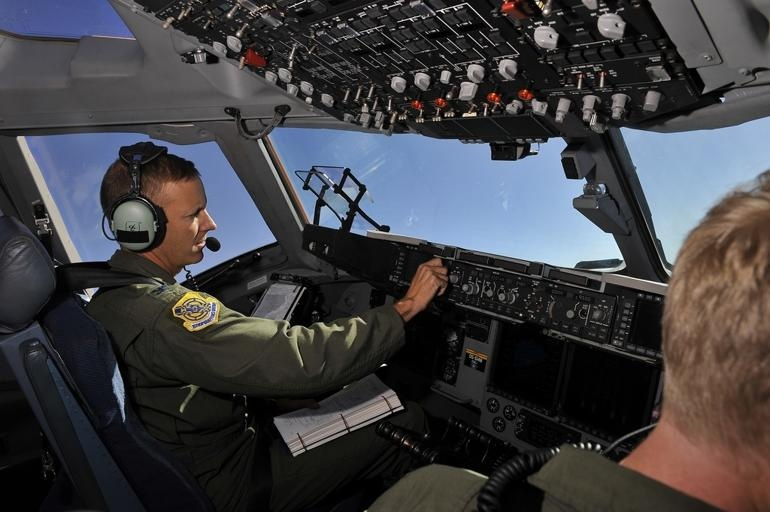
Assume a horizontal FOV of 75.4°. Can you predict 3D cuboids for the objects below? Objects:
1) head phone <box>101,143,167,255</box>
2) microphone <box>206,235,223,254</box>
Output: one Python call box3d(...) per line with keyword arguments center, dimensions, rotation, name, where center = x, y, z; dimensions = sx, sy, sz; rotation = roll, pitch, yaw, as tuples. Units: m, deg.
box3d(center=(-1.106, -0.280, 2.354), dimensions=(0.291, 0.457, 0.544), rotation=(1, 10, -6), name="head phone")
box3d(center=(-1.062, -0.074, 3.088), dimensions=(0.123, 0.104, 0.063), rotation=(6, 52, 53), name="microphone")
